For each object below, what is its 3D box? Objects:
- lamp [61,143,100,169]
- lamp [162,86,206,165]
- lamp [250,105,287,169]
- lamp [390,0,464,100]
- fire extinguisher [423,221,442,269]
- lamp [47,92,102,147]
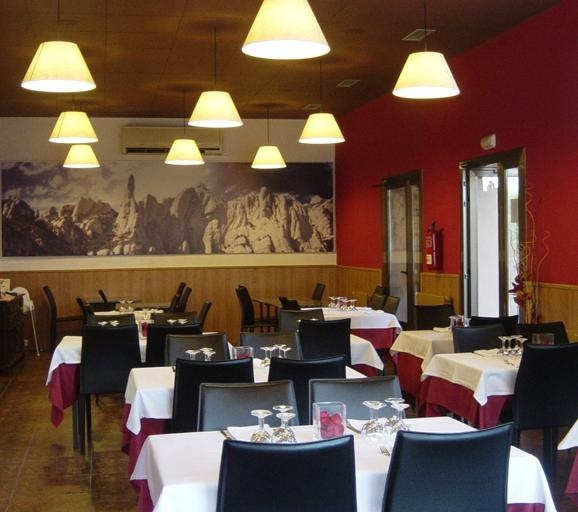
[{"bbox_3d":[-2.663,-1.212,6.971,0.475,0.302,0.477,0,0,-42],"label":"lamp"},{"bbox_3d":[-1.323,-1.585,6.990,0.513,0.994,0.505,-10,-11,44],"label":"lamp"},{"bbox_3d":[-0.301,-1.708,8.180,0.489,0.982,0.551,2,-13,-23],"label":"lamp"},{"bbox_3d":[0.991,-1.307,4.035,0.439,0.345,0.376,-13,9,-10],"label":"lamp"},{"bbox_3d":[2.081,-0.119,7.859,0.267,0.691,0.276,-9,8,8],"label":"fire extinguisher"},{"bbox_3d":[-2.126,-1.329,5.659,0.578,0.669,0.611,-3,11,-39],"label":"lamp"}]
